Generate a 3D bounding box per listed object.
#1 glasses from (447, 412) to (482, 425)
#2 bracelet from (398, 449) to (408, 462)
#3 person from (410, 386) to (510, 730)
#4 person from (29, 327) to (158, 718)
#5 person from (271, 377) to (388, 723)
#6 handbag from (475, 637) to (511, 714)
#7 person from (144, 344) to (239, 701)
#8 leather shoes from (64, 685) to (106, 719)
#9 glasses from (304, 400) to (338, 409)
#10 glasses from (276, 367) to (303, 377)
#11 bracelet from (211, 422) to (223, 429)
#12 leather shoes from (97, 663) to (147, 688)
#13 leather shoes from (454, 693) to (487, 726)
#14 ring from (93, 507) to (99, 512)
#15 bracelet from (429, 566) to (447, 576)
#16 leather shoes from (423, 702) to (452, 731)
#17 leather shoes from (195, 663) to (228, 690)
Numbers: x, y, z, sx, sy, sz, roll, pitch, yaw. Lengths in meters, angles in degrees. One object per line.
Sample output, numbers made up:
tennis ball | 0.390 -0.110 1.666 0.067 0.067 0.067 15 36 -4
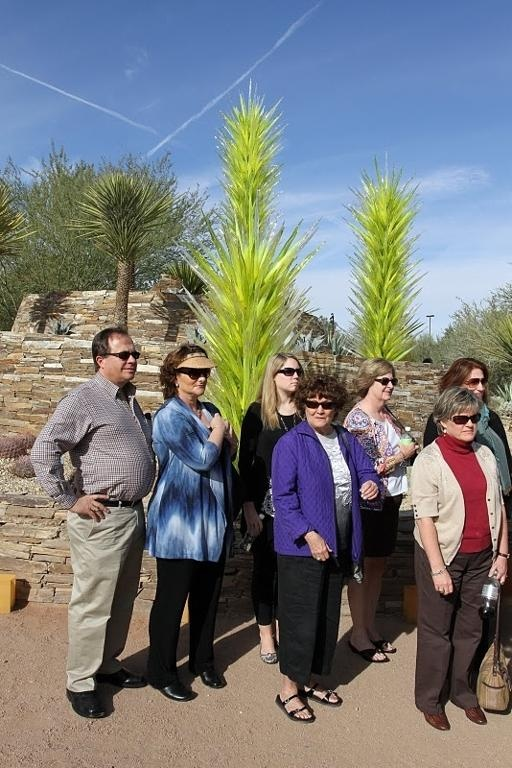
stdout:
glasses | 1.023 0.168 2.599 0.177 0.060 0.091 5 -3 -32
bracelet | 0.889 0.438 3.292 0.031 0.054 0.074 -3 -45 -8
person | 1.003 0.866 2.730 0.526 1.675 0.408 5 -3 -32
person | -0.816 0.643 2.719 0.598 1.623 0.343 5 -2 -20
person | 0.307 0.825 2.738 0.397 1.707 0.559 2 -3 44
handbag | 1.215 1.514 2.801 0.196 0.370 0.400 6 -25 16
person | -0.345 0.714 2.883 0.449 1.399 0.488 4 -2 7
leather shoes | -0.833 1.554 2.667 0.086 0.093 0.220 17 -14 -42
glasses | 0.313 0.102 2.607 0.141 0.044 0.064 3 -3 7
glasses | 0.207 -0.073 3.326 0.133 0.058 0.077 4 -3 -12
bracelet | -0.201 0.220 2.817 0.060 0.031 0.044 6 -17 3
leather shoes | -0.705 1.570 2.938 0.268 0.104 0.096 0 -5 2
leather shoes | 1.083 1.657 2.777 0.061 0.068 0.176 -22 3 -21
ring | -0.754 0.599 2.601 0.010 0.024 0.023 3 -3 25
bracelet | 0.864 0.885 2.565 0.067 0.045 0.047 3 -3 19
leather shoes | 0.904 1.657 2.693 0.053 0.059 0.147 3 -10 -11
leather shoes | -0.238 1.617 3.010 0.080 0.071 0.187 15 -12 -35
